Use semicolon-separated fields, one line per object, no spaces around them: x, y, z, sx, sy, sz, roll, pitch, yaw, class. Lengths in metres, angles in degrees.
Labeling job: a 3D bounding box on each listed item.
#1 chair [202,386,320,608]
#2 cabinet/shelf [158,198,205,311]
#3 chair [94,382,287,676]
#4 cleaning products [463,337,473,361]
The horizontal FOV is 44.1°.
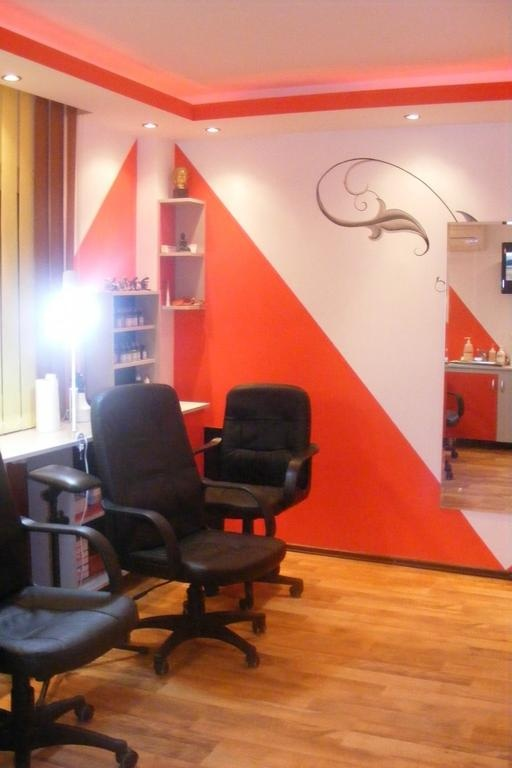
-0.020;0.532;3.142;0.564;1.036;0.578;1;2;18;chair
-0.445;-0.794;3.897;0.267;0.623;0.260;1;2;9;cabinet/shelf
-0.251;0.519;2.467;0.634;1.009;0.608;-1;0;31;chair
1.137;-0.181;3.392;0.058;0.124;0.022;1;2;23;cleaning products
